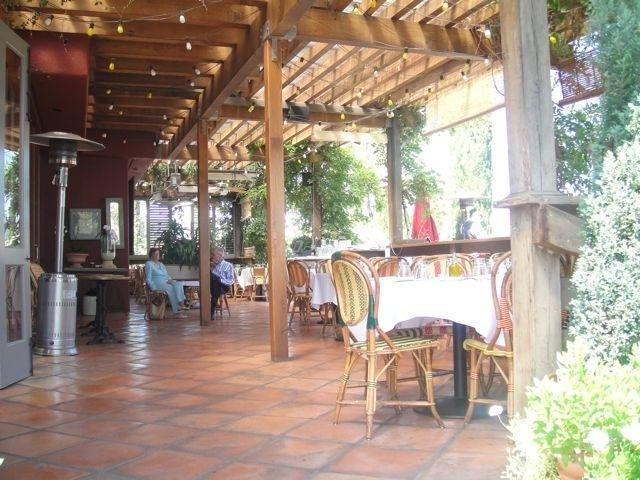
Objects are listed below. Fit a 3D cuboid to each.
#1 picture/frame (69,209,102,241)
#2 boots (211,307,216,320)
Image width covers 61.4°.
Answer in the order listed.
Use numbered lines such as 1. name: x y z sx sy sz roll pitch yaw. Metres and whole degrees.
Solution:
1. picture/frame: -5.056 -0.310 11.582 0.655 0.753 0.074 1 -6 -29
2. boots: -2.020 1.403 10.206 0.082 0.117 0.276 0 -22 -4
